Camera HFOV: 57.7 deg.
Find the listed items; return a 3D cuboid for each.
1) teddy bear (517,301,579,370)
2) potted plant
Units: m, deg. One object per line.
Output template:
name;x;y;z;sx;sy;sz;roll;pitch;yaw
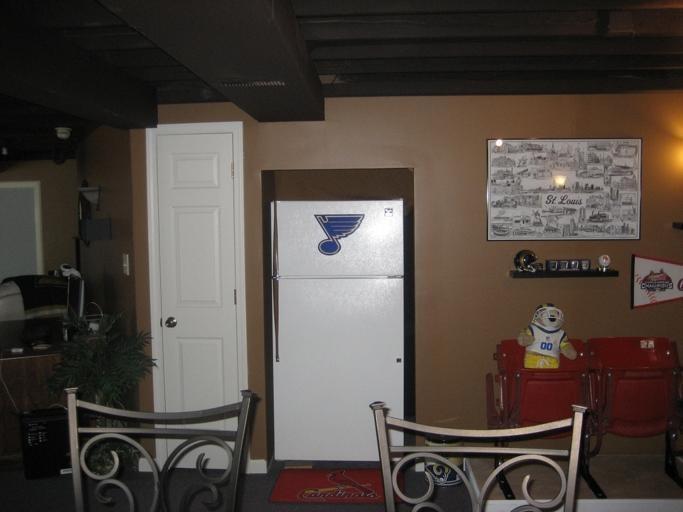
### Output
teddy bear;1.558;0.659;4.728;0.434;0.602;0.285;10;-15;5
potted plant;-1.830;1.073;5.046;1.065;1.481;1.051;0;3;-16
